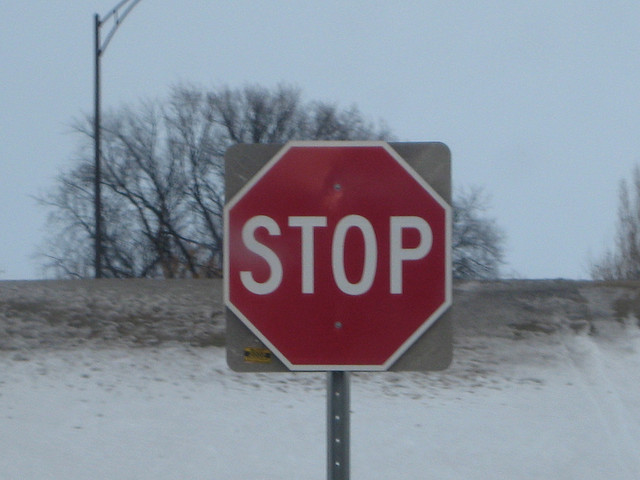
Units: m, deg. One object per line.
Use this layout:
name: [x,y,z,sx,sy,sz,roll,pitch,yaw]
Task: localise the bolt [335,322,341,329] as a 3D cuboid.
bolt: [0.229,1.104,18.418,0.072,0.082,0.018,-1,0,0]
